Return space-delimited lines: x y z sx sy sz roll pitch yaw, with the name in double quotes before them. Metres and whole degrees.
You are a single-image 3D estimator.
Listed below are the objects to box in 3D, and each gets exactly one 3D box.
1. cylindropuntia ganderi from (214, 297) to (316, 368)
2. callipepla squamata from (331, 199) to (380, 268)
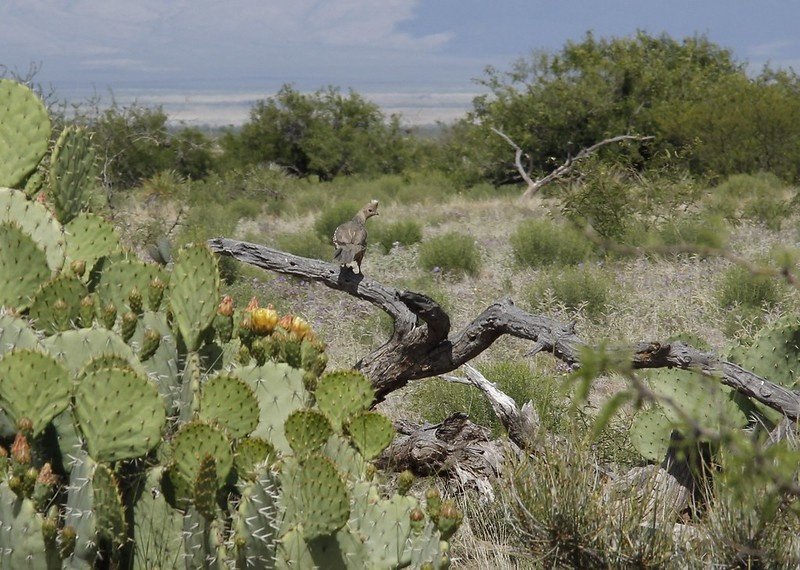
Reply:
"cylindropuntia ganderi" -0.808 0.320 5.969 0.482 0.507 0.280 -5 8 -9
"callipepla squamata" -0.385 -0.375 7.912 0.212 0.520 0.704 7 23 15
